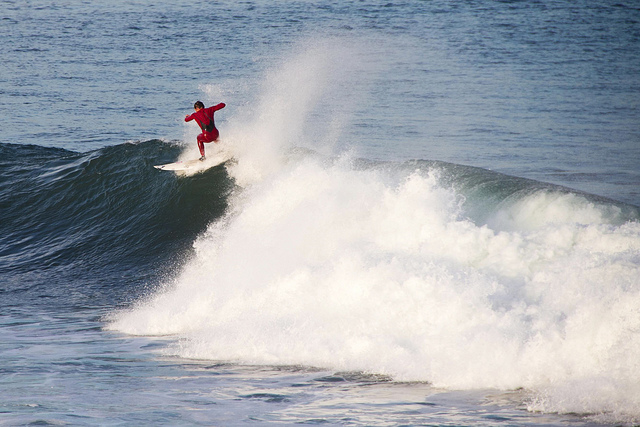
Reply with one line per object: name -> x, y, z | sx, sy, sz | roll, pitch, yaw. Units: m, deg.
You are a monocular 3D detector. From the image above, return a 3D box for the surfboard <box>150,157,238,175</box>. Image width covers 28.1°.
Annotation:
surfboard -> -6.694, -2.412, 65.570 | 3.924, 0.605, 0.724 | -2, 40, 6
